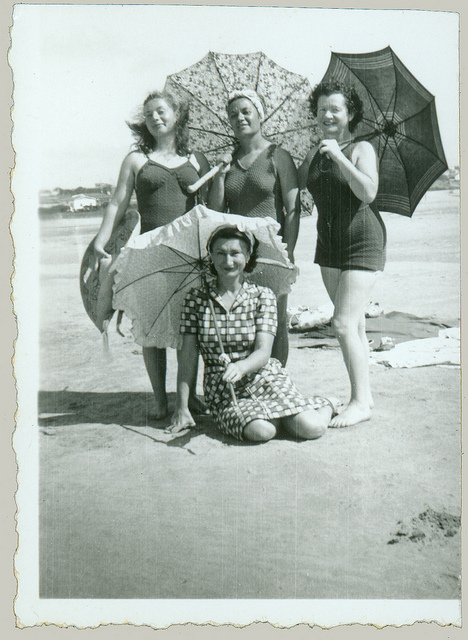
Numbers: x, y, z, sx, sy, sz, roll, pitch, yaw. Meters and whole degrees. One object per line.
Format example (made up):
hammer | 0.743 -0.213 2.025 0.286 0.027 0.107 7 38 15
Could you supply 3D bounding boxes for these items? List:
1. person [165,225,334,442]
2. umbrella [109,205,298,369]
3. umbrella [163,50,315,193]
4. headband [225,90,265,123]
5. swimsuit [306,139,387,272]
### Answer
person | 0.048 0.066 4.216 0.825 1.078 0.446 -1 5 1
umbrella | -0.185 -0.027 4.132 0.749 0.881 0.725 -6 25 4
umbrella | 0.056 -1.207 4.814 0.760 0.903 0.690 -14 -7 11
headband | 0.059 -1.097 4.354 0.143 0.192 0.081 -3 11 4
swimsuit | 0.592 -0.635 4.639 0.386 0.780 0.300 -4 -3 44
